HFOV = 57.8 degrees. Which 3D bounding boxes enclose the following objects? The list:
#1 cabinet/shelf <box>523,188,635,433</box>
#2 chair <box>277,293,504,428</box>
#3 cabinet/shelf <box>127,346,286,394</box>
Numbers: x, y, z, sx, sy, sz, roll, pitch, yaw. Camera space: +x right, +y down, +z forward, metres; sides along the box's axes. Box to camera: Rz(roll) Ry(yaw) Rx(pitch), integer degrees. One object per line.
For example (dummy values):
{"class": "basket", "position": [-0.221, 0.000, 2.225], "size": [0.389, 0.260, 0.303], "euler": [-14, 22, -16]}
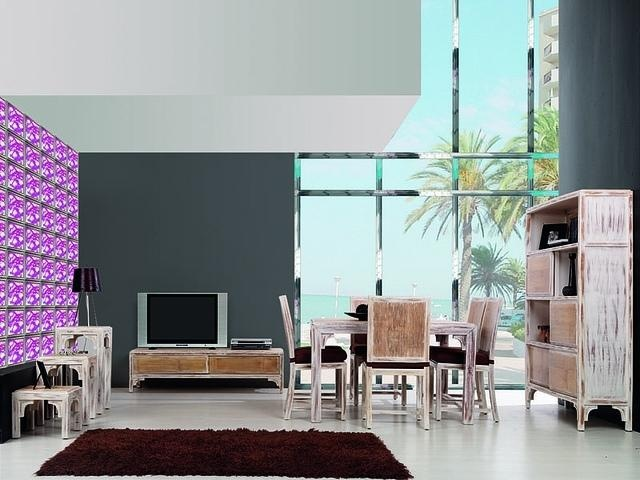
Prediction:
{"class": "cabinet/shelf", "position": [2.848, 0.724, 6.426], "size": [0.636, 2.480, 1.161], "euler": [1, -2, -13]}
{"class": "chair", "position": [0.845, 1.274, 6.336], "size": [2.258, 1.341, 1.201], "euler": [0, -2, 3]}
{"class": "cabinet/shelf", "position": [-1.498, 1.699, 7.557], "size": [1.991, 0.522, 0.143], "euler": [0, -2, 1]}
